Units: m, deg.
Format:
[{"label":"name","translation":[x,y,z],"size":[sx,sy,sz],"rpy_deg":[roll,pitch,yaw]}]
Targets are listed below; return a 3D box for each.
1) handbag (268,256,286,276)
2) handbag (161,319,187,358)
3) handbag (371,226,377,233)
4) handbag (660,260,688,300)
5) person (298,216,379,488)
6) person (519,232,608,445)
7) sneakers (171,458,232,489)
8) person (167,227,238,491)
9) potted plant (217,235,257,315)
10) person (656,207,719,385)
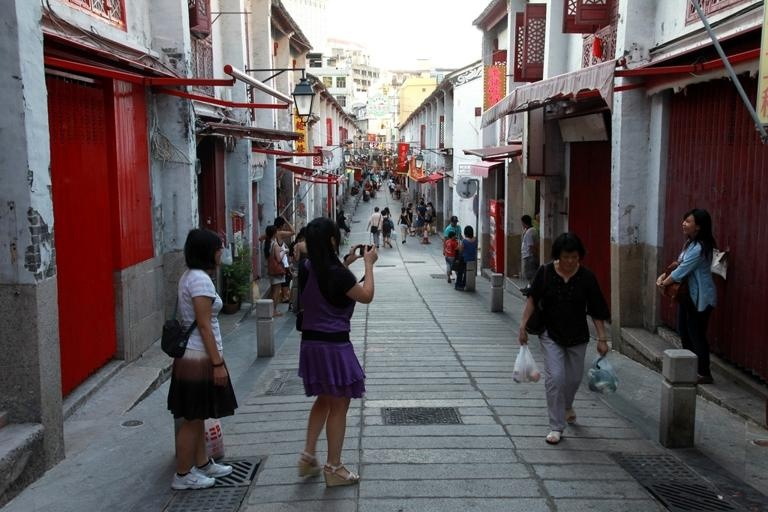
[{"label":"handbag","translation":[-2.526,0.264,13.571],"size":[0.433,0.474,0.305],"rpy_deg":[-2,4,-14]},{"label":"handbag","translation":[-2.004,0.801,5.552],"size":[0.220,0.367,0.364],"rpy_deg":[9,-9,-38]},{"label":"handbag","translation":[-0.489,-1.285,27.768],"size":[0.273,0.271,0.146],"rpy_deg":[3,10,8]},{"label":"handbag","translation":[3.884,0.385,7.835],"size":[0.255,0.476,0.473],"rpy_deg":[-11,-6,0]},{"label":"person","translation":[-0.469,0.893,5.575],"size":[0.758,2.527,0.528],"rpy_deg":[0,5,-1]},{"label":"person","translation":[1.985,0.882,6.463],"size":[0.944,2.280,0.539],"rpy_deg":[1,6,10]},{"label":"sneakers","translation":[-1.758,2.117,5.690],"size":[0.581,0.265,0.209],"rpy_deg":[-2,4,-15]},{"label":"person","translation":[-1.747,0.980,5.553],"size":[0.623,2.460,0.305],"rpy_deg":[-2,6,-19]},{"label":"potted plant","translation":[-3.564,0.686,13.823],"size":[0.730,1.177,0.728],"rpy_deg":[12,9,0]},{"label":"person","translation":[4.056,0.519,7.720],"size":[0.743,2.277,0.490],"rpy_deg":[-2,6,-17]}]
